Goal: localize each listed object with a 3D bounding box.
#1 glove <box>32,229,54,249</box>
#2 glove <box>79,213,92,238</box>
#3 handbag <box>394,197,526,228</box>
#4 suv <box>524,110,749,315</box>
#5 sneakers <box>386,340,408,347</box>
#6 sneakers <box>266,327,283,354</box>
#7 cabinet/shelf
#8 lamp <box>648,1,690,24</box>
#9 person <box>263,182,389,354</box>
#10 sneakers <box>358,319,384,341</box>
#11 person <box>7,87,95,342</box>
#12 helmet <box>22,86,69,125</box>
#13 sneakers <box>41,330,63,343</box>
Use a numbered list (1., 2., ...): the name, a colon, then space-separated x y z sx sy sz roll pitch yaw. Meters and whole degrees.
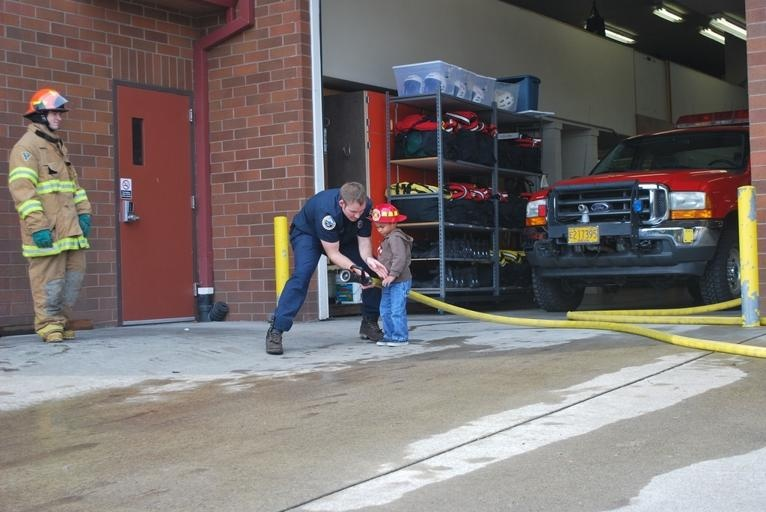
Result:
1. glove: -3.218 -0.173 6.845 0.148 0.181 0.094 -7 7 -37
2. glove: -3.002 -0.329 7.298 0.114 0.272 0.221 4 5 -24
3. handbag: 1.176 -0.626 10.241 1.962 0.527 0.629 -6 7 -41
4. suv: 2.851 -0.651 8.541 1.876 1.822 3.411 -6 -9 40
5. sneakers: 0.136 0.811 6.742 0.072 0.069 0.197 -5 -10 42
6. sneakers: -0.964 0.749 6.440 0.169 0.226 0.152 -1 6 11
7. cabinet/shelf: 1.121 -0.730 9.840 1.259 3.175 3.743 -1 2 33
8. lamp: 6.662 -5.710 16.840 0.539 0.122 0.493 9 -1 -6
9. person: -0.520 0.097 6.711 1.114 1.535 0.831 -2 6 -1
10. sneakers: -0.116 0.736 7.104 0.333 0.214 0.124 -1 -2 24
11. person: -3.235 -0.401 7.086 0.416 2.473 0.669 1 7 32
12. helmet: -3.285 -1.471 7.020 0.329 0.345 0.333 -6 7 -32
13. sneakers: -3.212 0.780 7.032 0.175 0.073 0.104 -3 3 30
